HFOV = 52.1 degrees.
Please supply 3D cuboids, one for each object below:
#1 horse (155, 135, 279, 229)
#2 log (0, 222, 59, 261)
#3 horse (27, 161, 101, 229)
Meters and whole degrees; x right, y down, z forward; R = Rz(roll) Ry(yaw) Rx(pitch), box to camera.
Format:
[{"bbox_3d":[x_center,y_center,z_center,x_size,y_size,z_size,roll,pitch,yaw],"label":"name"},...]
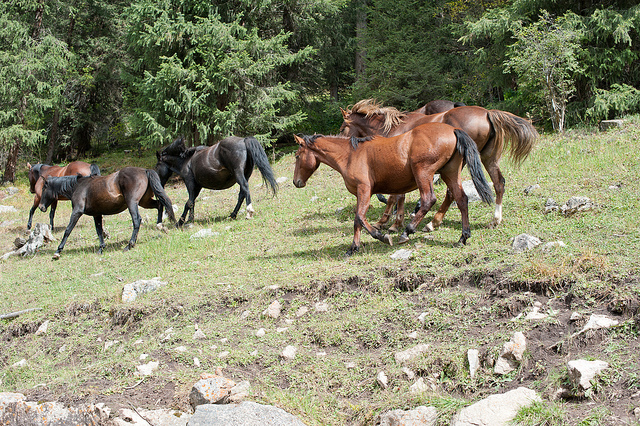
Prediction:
[{"bbox_3d":[-3.646,-1.153,22.523,4.616,2.906,1.065,3,12,27],"label":"horse"},{"bbox_3d":[-10.029,1.334,22.762,1.644,0.626,1.050,-42,45,-10],"label":"log"},{"bbox_3d":[-10.324,-0.824,26.207,4.072,3.030,1.091,-6,-10,25],"label":"horse"}]
